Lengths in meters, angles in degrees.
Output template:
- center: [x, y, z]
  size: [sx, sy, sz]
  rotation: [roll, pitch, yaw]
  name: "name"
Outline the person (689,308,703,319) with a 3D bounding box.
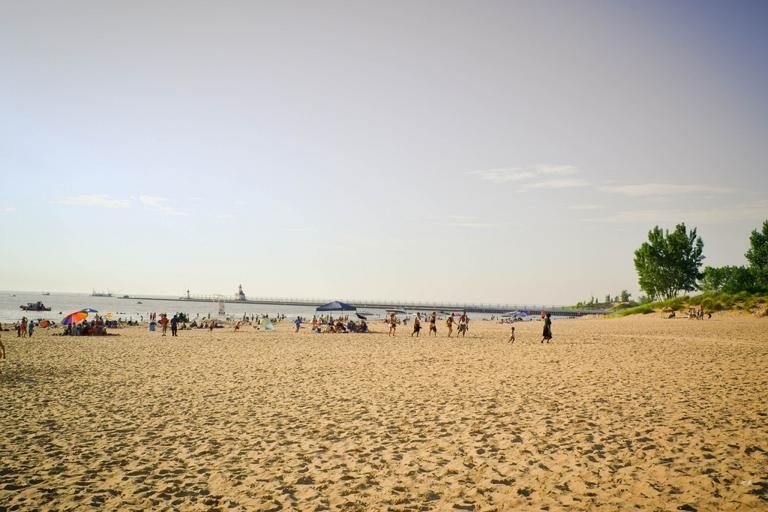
- center: [27.110, 5.057, 56.185]
  size: [1.077, 0.589, 1.368]
  rotation: [4, -4, 4]
  name: "person"
